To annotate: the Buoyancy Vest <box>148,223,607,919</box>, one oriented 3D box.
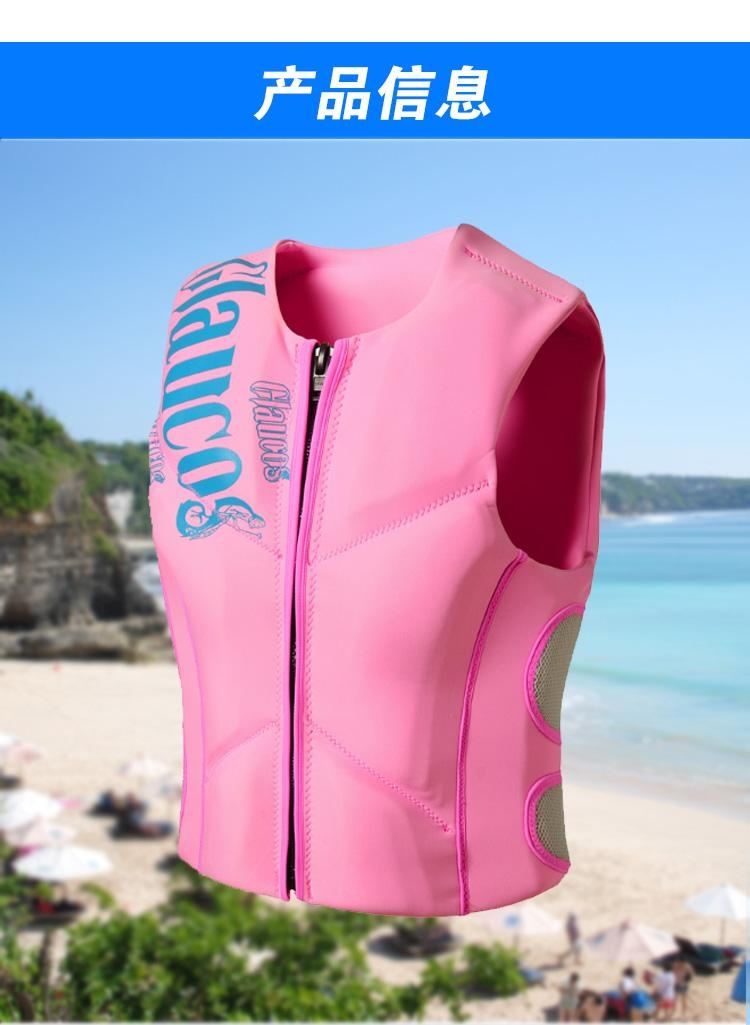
[{"bbox_3d":[-0.038,0.063,1.703,0.751,1.087,0.284,5,0,18],"label":"Buoyancy Vest"}]
